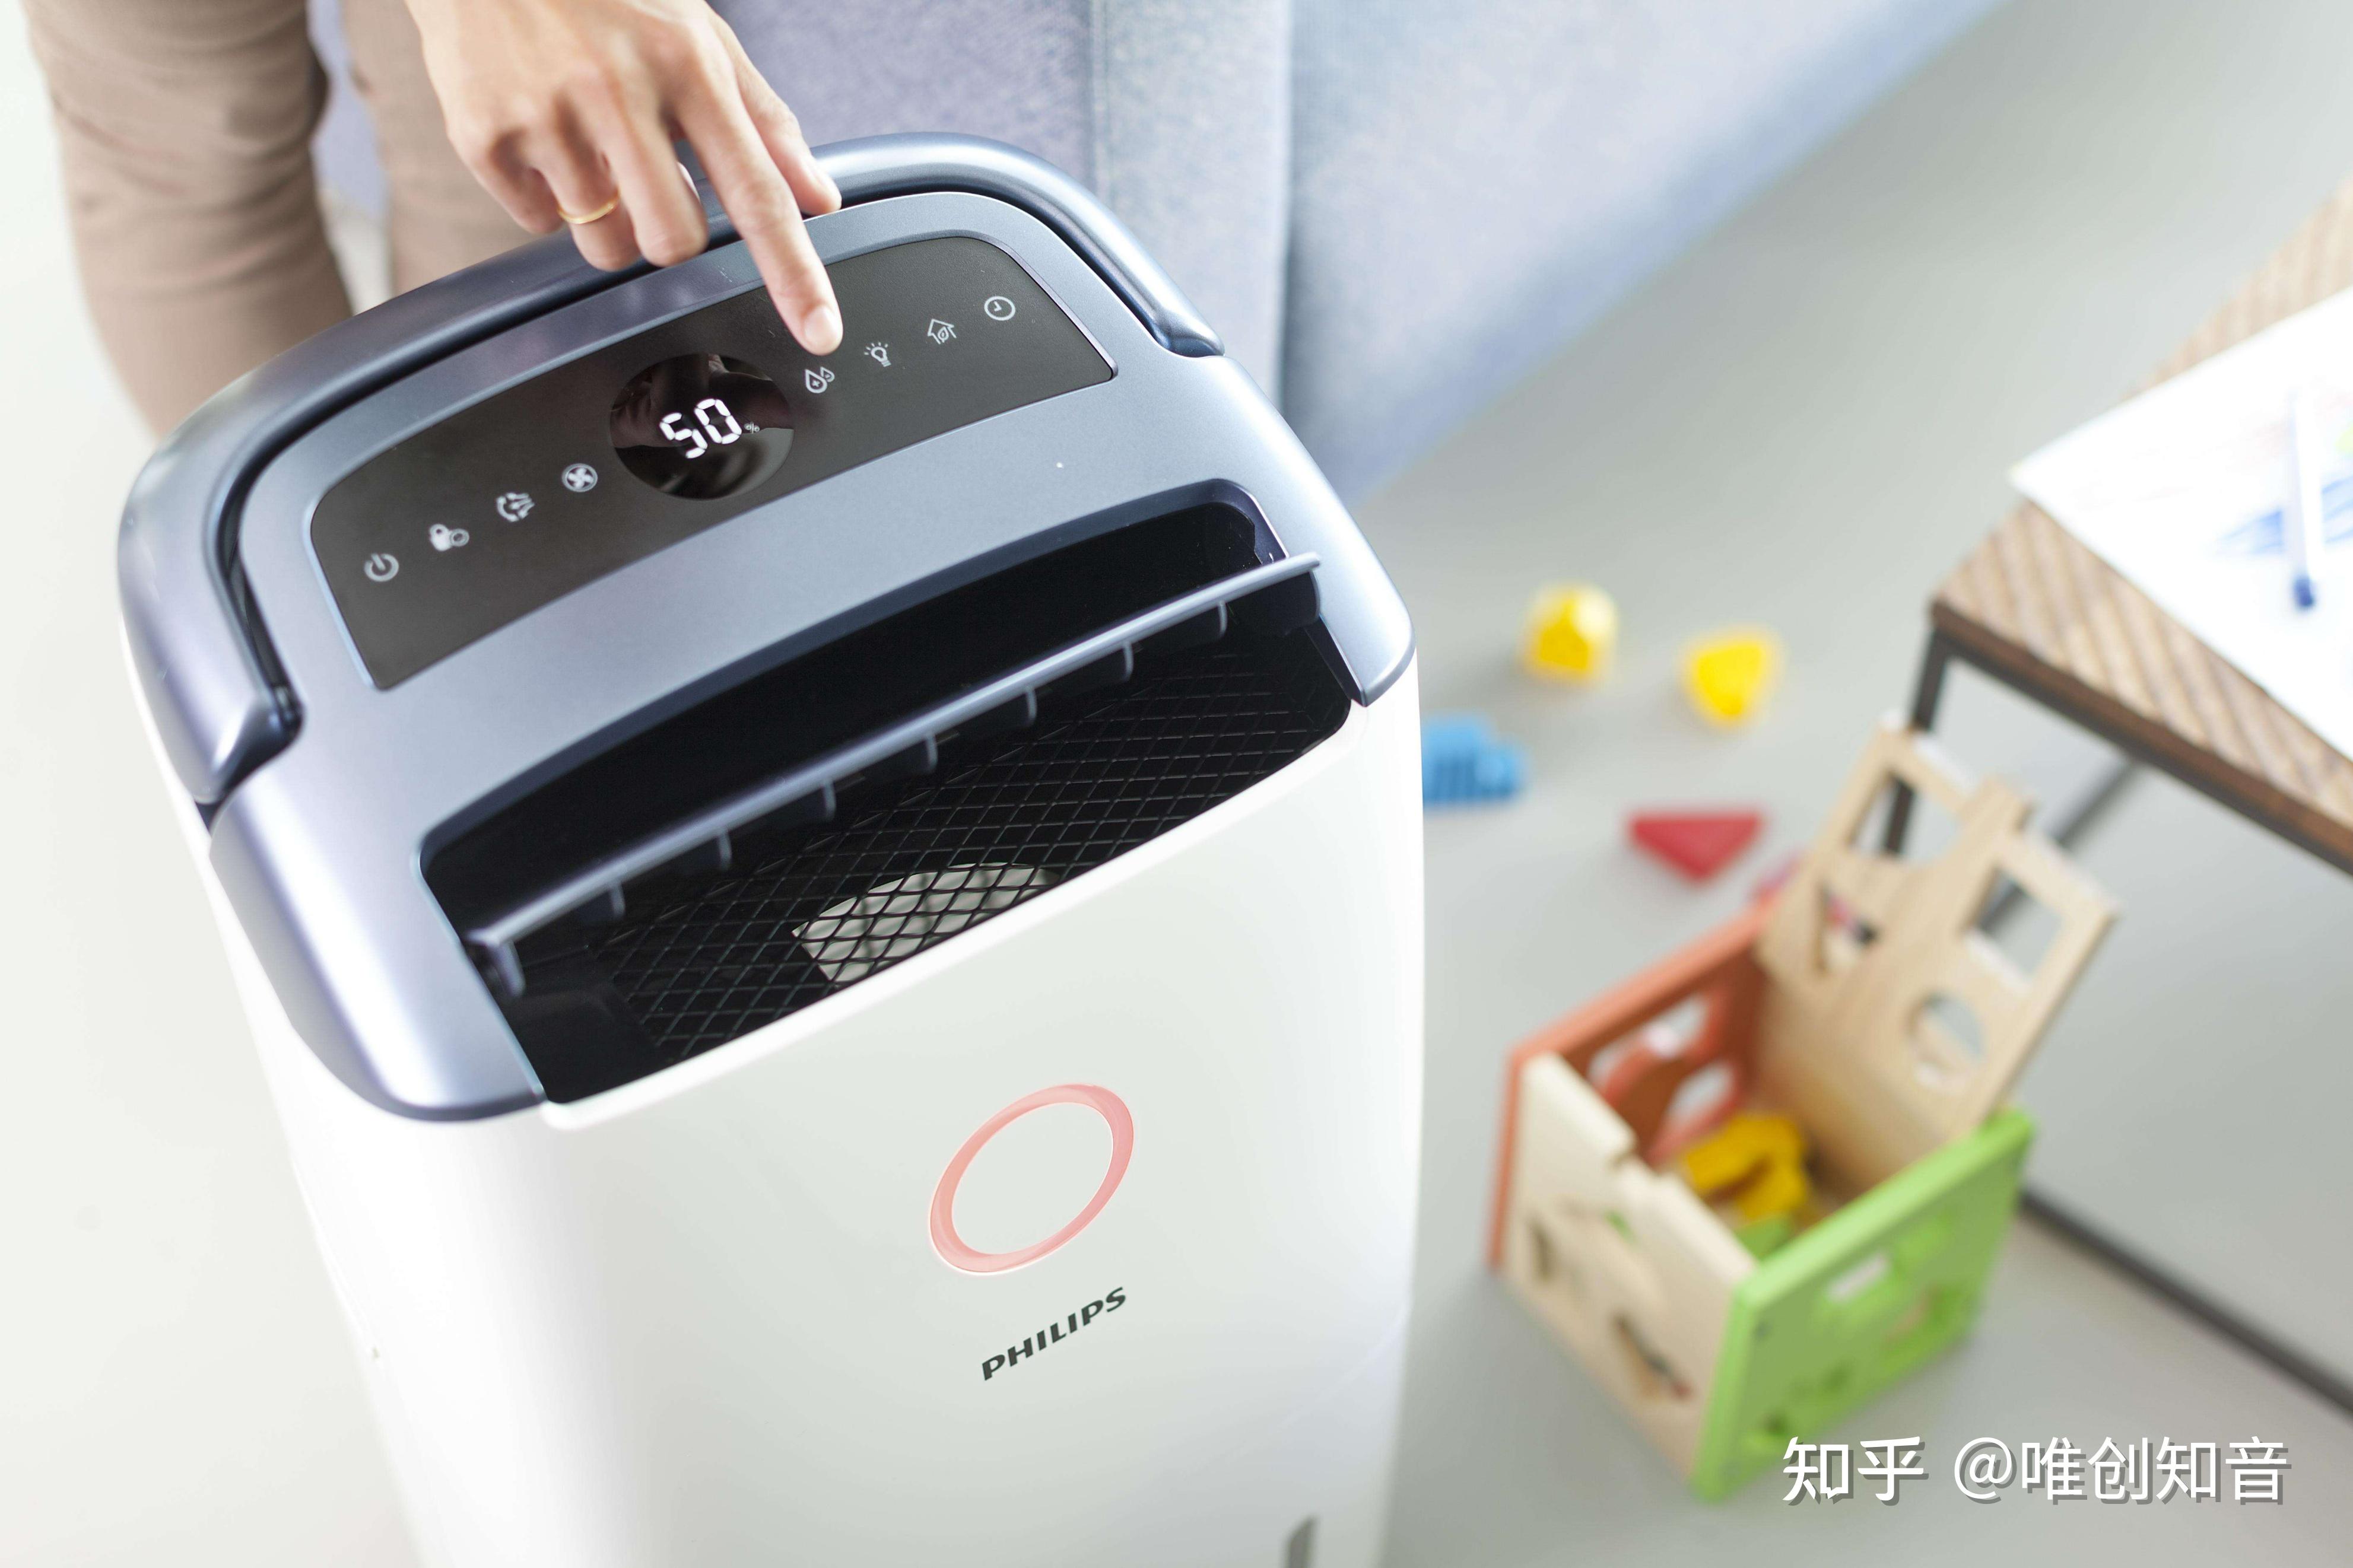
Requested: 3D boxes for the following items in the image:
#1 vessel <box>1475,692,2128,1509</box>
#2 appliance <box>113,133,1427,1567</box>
[{"bbox_3d":[0.453,0.251,1.433,0.294,0.419,0.246,-35,68,-21],"label":"vessel"},{"bbox_3d":[-0.174,0.136,1.044,0.520,0.786,0.398,-27,40,-27],"label":"appliance"}]
